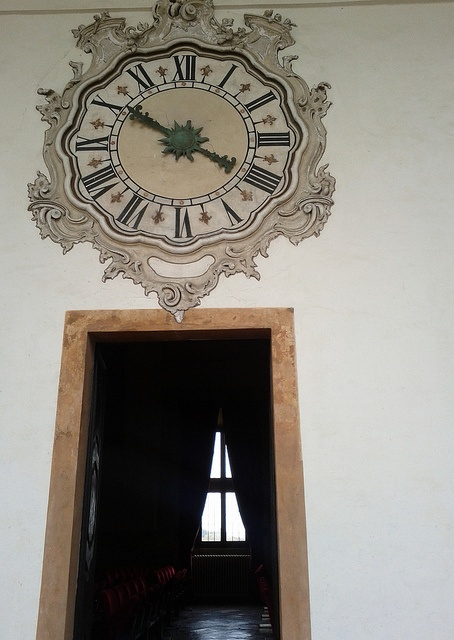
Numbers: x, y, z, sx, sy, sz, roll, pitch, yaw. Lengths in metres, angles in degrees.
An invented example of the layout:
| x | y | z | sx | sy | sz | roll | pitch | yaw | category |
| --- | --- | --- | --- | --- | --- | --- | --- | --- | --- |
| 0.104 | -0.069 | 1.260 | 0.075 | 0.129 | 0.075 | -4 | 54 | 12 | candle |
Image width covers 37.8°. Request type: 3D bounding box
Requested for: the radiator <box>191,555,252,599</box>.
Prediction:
| x | y | z | sx | sy | sz | roll | pitch | yaw | category |
| --- | --- | --- | --- | --- | --- | --- | --- | --- | --- |
| -0.115 | 4.284 | 11.061 | 0.999 | 0.740 | 0.202 | 0 | -31 | 0 | radiator |
